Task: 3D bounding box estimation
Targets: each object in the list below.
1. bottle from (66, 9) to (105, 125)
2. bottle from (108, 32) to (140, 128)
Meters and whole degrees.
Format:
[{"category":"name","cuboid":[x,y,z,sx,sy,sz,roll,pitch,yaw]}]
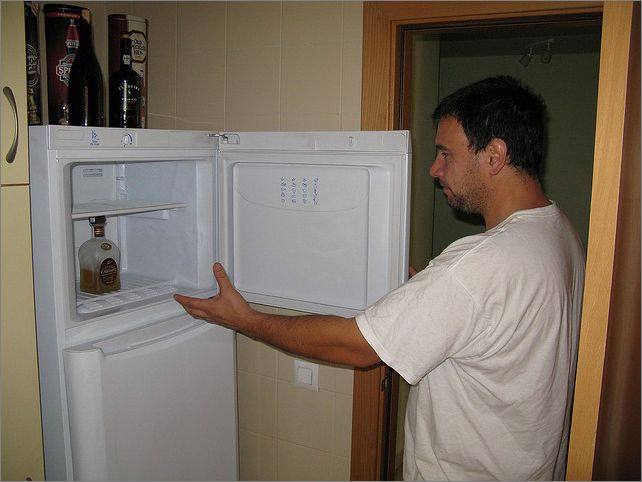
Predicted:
[{"category":"bottle","cuboid":[-0.664,-0.477,1.350,0.093,0.289,0.060,-6,9,-29]},{"category":"bottle","cuboid":[-0.584,-0.481,1.427,0.088,0.272,0.086,-1,8,0]}]
